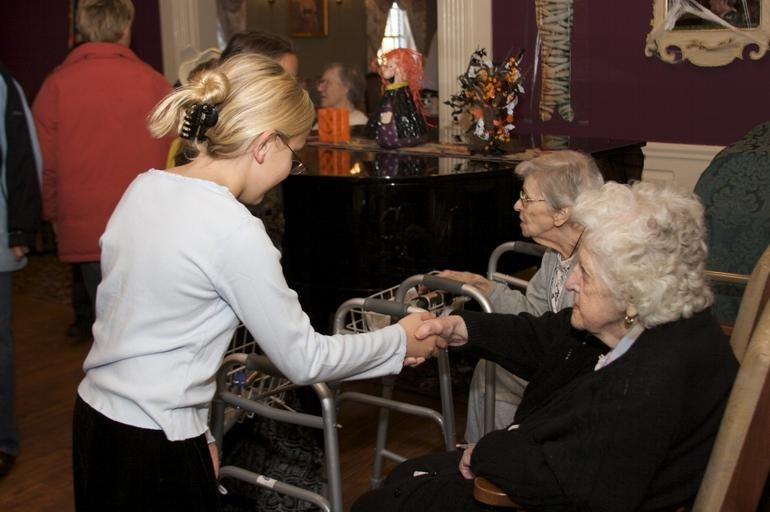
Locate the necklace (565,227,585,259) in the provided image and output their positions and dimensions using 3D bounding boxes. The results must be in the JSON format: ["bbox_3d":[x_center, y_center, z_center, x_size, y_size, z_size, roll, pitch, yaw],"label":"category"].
[{"bbox_3d":[0.737,-0.054,2.447,0.051,0.115,0.087,24,-1,1],"label":"necklace"}]

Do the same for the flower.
[{"bbox_3d":[0.659,-1.021,4.143,0.435,0.537,0.276,6,15,24],"label":"flower"}]

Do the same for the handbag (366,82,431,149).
[{"bbox_3d":[0.031,-0.911,4.379,0.384,0.462,0.548,7,12,44],"label":"handbag"}]

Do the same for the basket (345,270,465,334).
[{"bbox_3d":[0.042,0.236,2.451,0.372,0.139,0.326,10,20,41],"label":"basket"}]

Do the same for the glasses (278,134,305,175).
[{"bbox_3d":[-0.322,-0.325,2.081,0.048,0.156,0.161,-4,-3,-27],"label":"glasses"}]
